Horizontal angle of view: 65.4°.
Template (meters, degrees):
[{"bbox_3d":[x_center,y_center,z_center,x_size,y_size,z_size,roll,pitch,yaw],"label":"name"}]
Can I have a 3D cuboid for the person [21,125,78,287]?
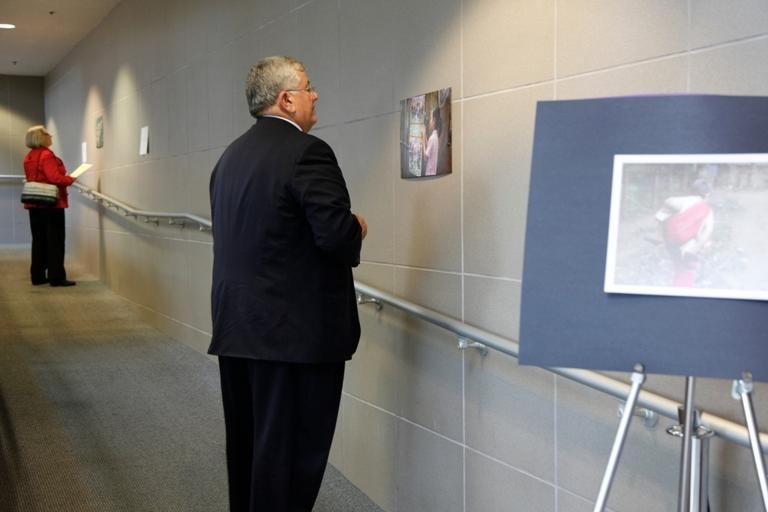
[{"bbox_3d":[-3.115,-0.451,5.566,0.439,1.465,0.360,-7,14,-29],"label":"person"}]
